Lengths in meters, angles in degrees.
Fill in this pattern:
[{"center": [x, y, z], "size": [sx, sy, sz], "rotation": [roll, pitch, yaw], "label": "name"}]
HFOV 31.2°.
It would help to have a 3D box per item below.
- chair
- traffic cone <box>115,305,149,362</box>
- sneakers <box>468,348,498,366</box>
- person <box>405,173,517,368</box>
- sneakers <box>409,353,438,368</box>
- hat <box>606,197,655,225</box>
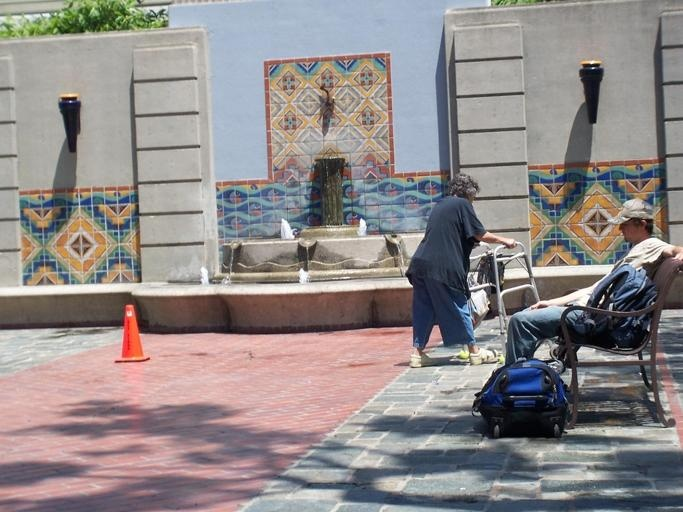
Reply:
[{"center": [2.920, 0.859, 12.759], "size": [1.207, 1.710, 2.640], "rotation": [-3, 4, 10], "label": "chair"}, {"center": [-2.793, 0.972, 16.165], "size": [0.429, 0.707, 1.022], "rotation": [-5, 5, -10], "label": "traffic cone"}, {"center": [1.698, 1.182, 14.587], "size": [0.426, 0.159, 0.148], "rotation": [-4, 5, -39], "label": "sneakers"}, {"center": [1.267, 0.180, 14.364], "size": [1.076, 2.250, 0.474], "rotation": [-4, 5, 2], "label": "person"}, {"center": [0.952, 1.240, 14.584], "size": [0.367, 0.126, 0.132], "rotation": [-1, 2, -28], "label": "sneakers"}, {"center": [2.925, -0.459, 12.580], "size": [0.552, 0.265, 0.341], "rotation": [0, 1, 16], "label": "hat"}]
